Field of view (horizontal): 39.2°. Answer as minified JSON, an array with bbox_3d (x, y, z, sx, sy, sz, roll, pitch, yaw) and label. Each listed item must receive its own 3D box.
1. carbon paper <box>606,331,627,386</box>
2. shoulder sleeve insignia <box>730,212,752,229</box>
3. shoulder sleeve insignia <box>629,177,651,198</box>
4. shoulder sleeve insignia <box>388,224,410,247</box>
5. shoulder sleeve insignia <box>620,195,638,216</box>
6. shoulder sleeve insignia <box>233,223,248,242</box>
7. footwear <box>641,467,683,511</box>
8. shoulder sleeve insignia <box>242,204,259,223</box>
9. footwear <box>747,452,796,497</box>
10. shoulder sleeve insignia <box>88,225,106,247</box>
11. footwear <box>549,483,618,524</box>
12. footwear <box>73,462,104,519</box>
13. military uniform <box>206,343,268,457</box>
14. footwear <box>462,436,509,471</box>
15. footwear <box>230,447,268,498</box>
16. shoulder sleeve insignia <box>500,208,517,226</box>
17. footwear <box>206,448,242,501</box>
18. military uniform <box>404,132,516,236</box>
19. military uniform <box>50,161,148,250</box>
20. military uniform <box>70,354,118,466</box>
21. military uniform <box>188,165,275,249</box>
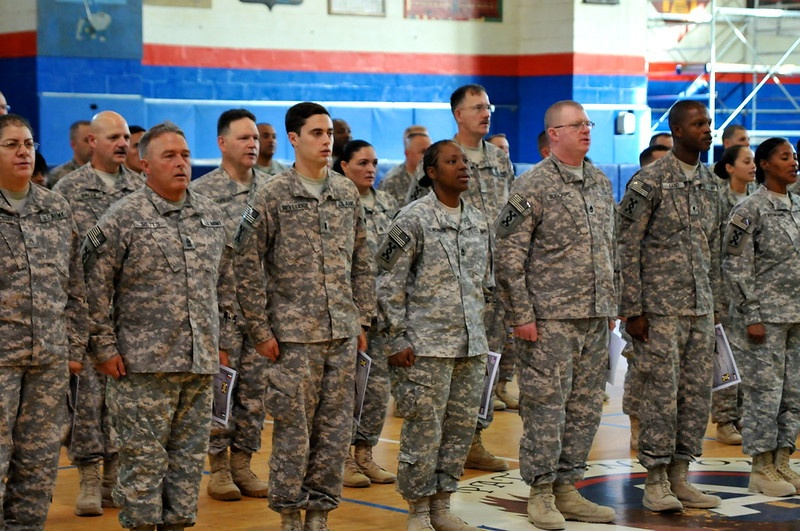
[{"bbox_3d":[1.468,0.620,7.712,0.026,0.338,0.355,3,-13,20],"label":"carbon paper"},{"bbox_3d":[2.500,-0.327,8.230,0.135,0.086,0.052,18,18,26],"label":"shoulder sleeve insignia"},{"bbox_3d":[1.649,-0.533,7.792,0.166,0.119,0.075,2,4,44],"label":"shoulder sleeve insignia"},{"bbox_3d":[-0.004,-0.188,7.142,0.116,0.137,0.067,1,4,32],"label":"shoulder sleeve insignia"},{"bbox_3d":[1.592,-0.415,7.772,0.135,0.108,0.041,20,4,38],"label":"shoulder sleeve insignia"},{"bbox_3d":[-0.999,-0.206,7.054,0.050,0.115,0.095,31,0,-9],"label":"shoulder sleeve insignia"},{"bbox_3d":[1.783,1.494,7.662,0.180,0.296,0.230,-2,3,-24],"label":"footwear"},{"bbox_3d":[-0.938,-0.327,7.045,0.117,0.126,0.052,2,4,43],"label":"shoulder sleeve insignia"},{"bbox_3d":[2.668,1.470,8.045,0.323,0.287,0.199,1,3,24],"label":"footwear"},{"bbox_3d":[-1.824,-0.174,6.759,0.124,0.122,0.036,-43,-20,22],"label":"shoulder sleeve insignia"},{"bbox_3d":[1.188,1.580,7.506,0.564,0.271,0.177,-2,1,0],"label":"footwear"},{"bbox_3d":[-2.171,1.528,7.837,0.186,0.318,0.357,-1,3,-15],"label":"footwear"},{"bbox_3d":[-1.214,0.972,8.102,0.617,1.095,0.292,8,43,-5],"label":"military uniform"},{"bbox_3d":[0.685,1.419,8.686,0.192,0.283,0.476,-4,-1,-34],"label":"footwear"},{"bbox_3d":[-1.091,1.486,8.142,0.377,0.292,0.156,3,9,41],"label":"footwear"},{"bbox_3d":[0.729,-0.322,7.419,0.089,0.111,0.035,33,-1,23],"label":"shoulder sleeve insignia"},{"bbox_3d":[-1.281,1.446,8.104,0.192,0.308,0.467,-6,25,-18],"label":"footwear"},{"bbox_3d":[0.423,-0.560,7.916,1.188,0.726,0.359,-4,6,-34],"label":"military uniform"},{"bbox_3d":[-1.983,-0.388,7.424,0.821,0.500,0.309,-3,2,-36],"label":"military uniform"},{"bbox_3d":[-2.214,0.989,8.009,0.328,0.798,0.337,-3,2,-44],"label":"military uniform"},{"bbox_3d":[-1.123,-0.379,7.481,0.776,0.590,0.414,-2,3,-41],"label":"military uniform"}]
